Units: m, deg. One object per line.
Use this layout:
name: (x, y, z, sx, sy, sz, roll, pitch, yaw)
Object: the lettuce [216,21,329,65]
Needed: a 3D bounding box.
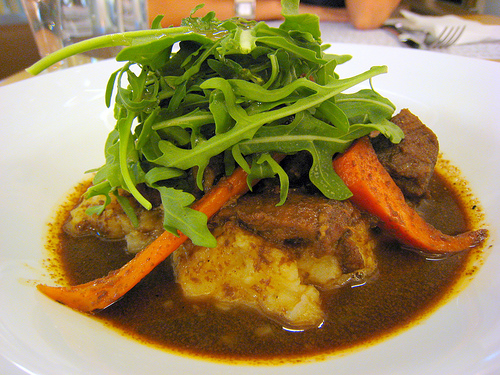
lettuce: (0.096, -0.836, 2.620, 0.406, 0.114, 0.355, -1, 11, -12)
